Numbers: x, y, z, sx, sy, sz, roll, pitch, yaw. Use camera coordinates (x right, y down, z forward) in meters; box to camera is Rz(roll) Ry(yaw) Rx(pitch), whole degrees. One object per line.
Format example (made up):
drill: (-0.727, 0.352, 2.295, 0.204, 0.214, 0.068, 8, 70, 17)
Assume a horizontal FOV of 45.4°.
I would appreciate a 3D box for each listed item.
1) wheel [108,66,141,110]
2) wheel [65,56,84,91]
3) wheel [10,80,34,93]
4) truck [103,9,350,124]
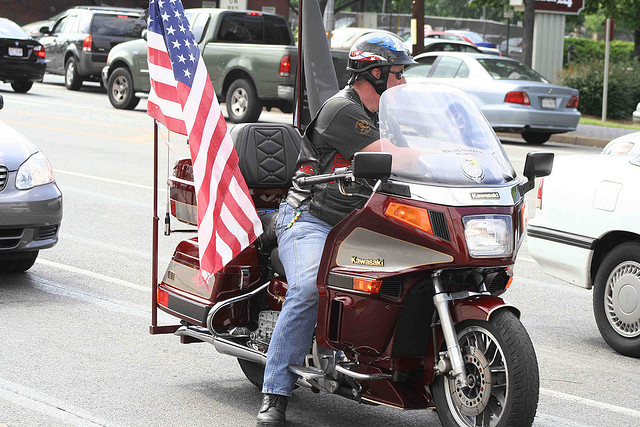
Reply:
wheel: (-5.565, -3.551, 21.533, 1.085, 1.147, 0.514, 15, 19, 41)
wheel: (-8.155, -4.691, 25.241, 0.334, 0.888, 0.905, 8, 11, -33)
wheel: (-9.207, -3.927, 23.568, 0.472, 0.333, 0.543, -7, 17, -34)
truck: (-2.393, -4.062, 20.336, 7.641, 2.631, 3.547, 14, 15, 36)
